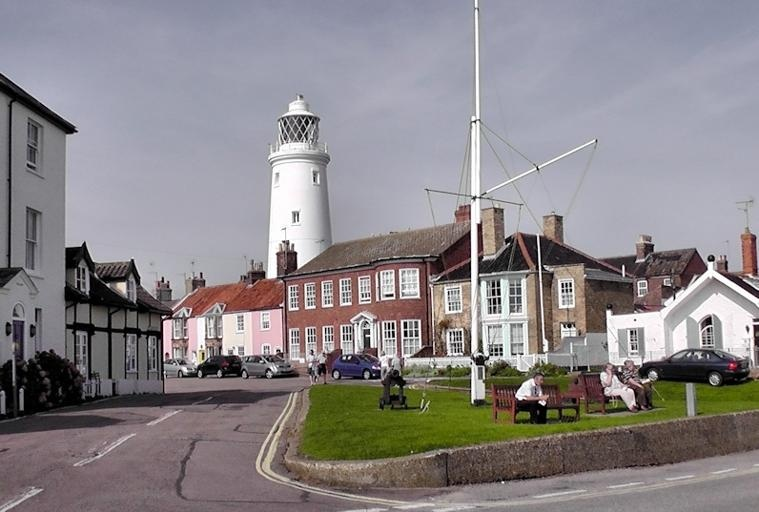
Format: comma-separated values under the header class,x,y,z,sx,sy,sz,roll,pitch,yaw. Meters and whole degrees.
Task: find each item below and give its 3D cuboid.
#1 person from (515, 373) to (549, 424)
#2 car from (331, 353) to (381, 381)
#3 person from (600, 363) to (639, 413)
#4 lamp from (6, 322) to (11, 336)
class,x,y,z,sx,sy,sz,roll,pitch,yaw
person,4.861,4.598,27.914,1.044,1.613,1.136,-4,-10,10
car,-1.261,6.976,54.179,2.542,1.145,1.465,-10,-12,40
person,8.366,4.636,30.442,1.264,1.701,1.084,-8,-11,28
lamp,-14.731,2.900,34.427,0.167,0.551,0.363,-4,-10,12
